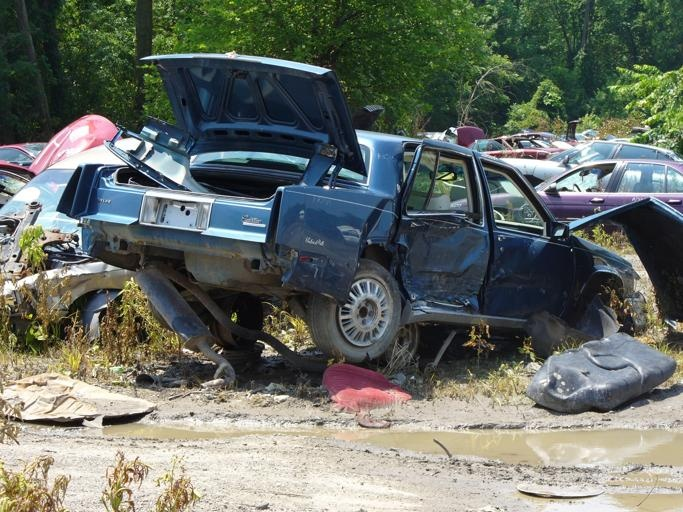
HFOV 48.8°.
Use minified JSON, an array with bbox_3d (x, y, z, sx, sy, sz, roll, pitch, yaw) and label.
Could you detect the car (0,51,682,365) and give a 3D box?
[{"bbox_3d":[0.302,-0.365,8.030,5.871,3.098,2.176,-1,8,-32],"label":"car"}]
